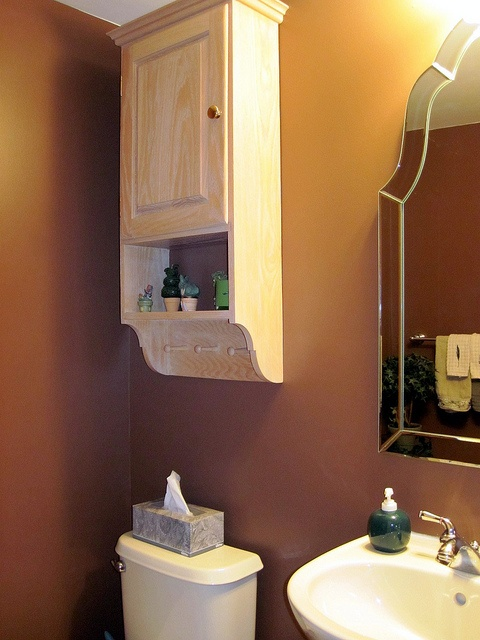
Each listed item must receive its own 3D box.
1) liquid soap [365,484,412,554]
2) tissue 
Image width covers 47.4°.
[{"bbox_3d":[0.292,0.400,1.076,0.078,0.127,0.064,0,2,8],"label":"liquid soap"},{"bbox_3d":[-0.169,0.540,1.558,0.263,0.209,0.203,1,3,41],"label":"tissue "}]
